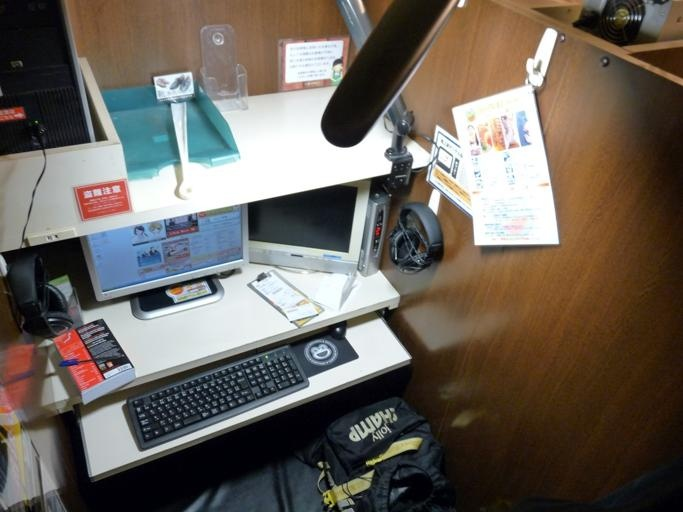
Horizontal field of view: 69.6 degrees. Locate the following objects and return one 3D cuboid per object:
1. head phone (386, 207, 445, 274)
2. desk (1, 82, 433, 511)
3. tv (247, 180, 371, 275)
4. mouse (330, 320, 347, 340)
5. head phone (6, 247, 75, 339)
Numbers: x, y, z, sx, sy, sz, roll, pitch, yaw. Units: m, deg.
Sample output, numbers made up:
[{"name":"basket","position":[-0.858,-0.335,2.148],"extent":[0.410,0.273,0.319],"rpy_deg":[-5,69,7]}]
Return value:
[{"name":"head phone","position":[0.246,-0.061,1.663],"extent":[0.112,0.262,0.215],"rpy_deg":[-8,31,-24]},{"name":"desk","position":[-0.398,0.348,2.294],"extent":[1.919,1.474,1.111],"rpy_deg":[-17,49,-19]},{"name":"tv","position":[-0.114,-0.115,1.792],"extent":[0.300,0.277,0.112],"rpy_deg":[5,40,-6]},{"name":"mouse","position":[-0.009,0.291,1.895],"extent":[0.068,0.069,0.049],"rpy_deg":[-17,57,-22]},{"name":"head phone","position":[-0.837,0.112,1.367],"extent":[0.101,0.218,0.193],"rpy_deg":[-17,33,-15]}]
